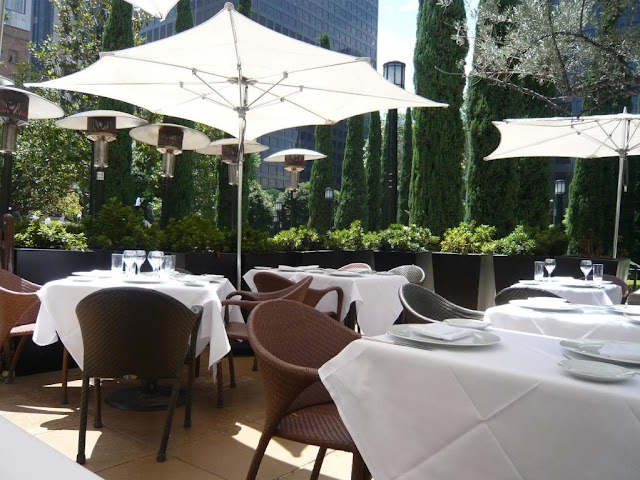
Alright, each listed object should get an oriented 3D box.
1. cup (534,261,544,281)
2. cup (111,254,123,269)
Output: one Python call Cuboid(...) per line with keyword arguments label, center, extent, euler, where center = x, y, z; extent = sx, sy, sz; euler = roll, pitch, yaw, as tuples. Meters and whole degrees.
Cuboid(label="cup", center=(2.092, 0.289, 5.633), extent=(0.063, 0.193, 0.218), euler=(4, 5, 26))
Cuboid(label="cup", center=(-1.748, 0.179, 5.211), extent=(0.095, 0.149, 0.123), euler=(6, 5, 43))
